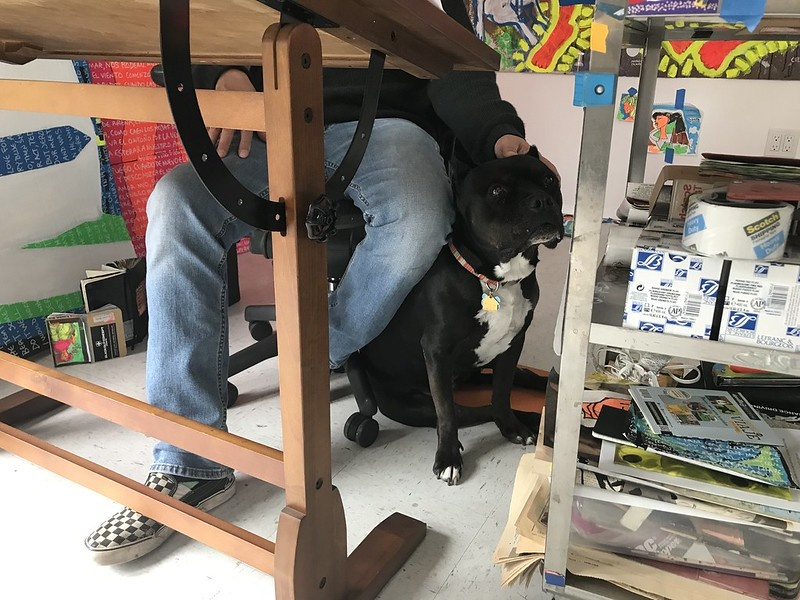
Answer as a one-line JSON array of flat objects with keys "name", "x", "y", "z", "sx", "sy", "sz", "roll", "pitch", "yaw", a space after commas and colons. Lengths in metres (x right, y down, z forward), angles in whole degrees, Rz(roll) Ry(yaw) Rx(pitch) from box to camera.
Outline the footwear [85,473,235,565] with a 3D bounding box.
[{"name": "footwear", "x": -0.564, "y": 0.500, "z": 1.374, "sx": 0.127, "sy": 0.117, "sz": 0.329, "roll": 16, "pitch": 26, "yaw": 36}]

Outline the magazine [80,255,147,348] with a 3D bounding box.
[{"name": "magazine", "x": -1.039, "y": -0.013, "z": 2.130, "sx": 0.135, "sy": 0.331, "sz": 0.251, "roll": 20, "pitch": 25, "yaw": 28}]
